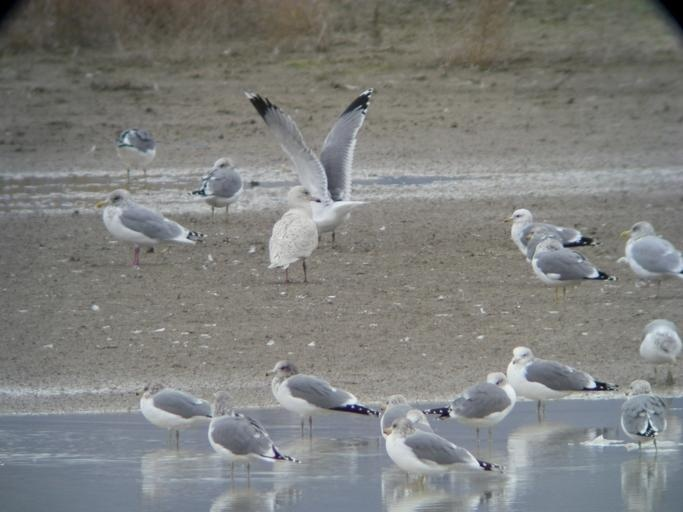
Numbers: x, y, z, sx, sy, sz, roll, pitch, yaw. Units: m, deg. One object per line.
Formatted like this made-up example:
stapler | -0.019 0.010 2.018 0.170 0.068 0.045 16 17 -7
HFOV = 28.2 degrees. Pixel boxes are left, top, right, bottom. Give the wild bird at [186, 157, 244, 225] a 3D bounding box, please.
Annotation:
wild bird | -2.545 -1.368 27.353 0.887 1.121 1.540 -5 0 24

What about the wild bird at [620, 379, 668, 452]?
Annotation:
wild bird | 4.511 2.358 20.407 0.682 0.897 1.914 0 -1 13
